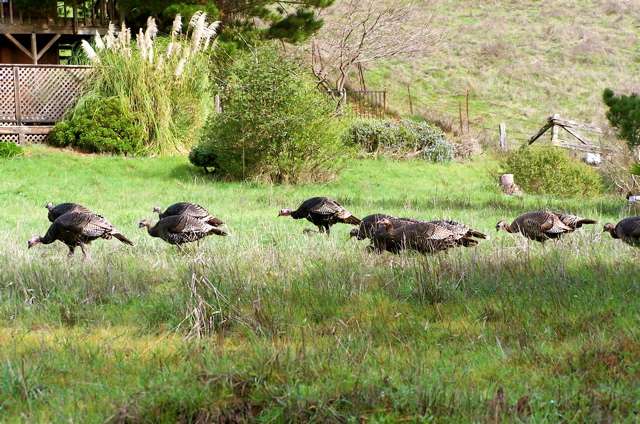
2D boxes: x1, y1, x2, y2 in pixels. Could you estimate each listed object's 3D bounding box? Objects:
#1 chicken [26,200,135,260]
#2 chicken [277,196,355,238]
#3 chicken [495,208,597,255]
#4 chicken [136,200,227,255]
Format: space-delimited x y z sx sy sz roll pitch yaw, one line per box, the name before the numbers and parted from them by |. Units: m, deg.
chicken | -4.419 0.392 15.571 1.802 0.857 1.046 11 15 42
chicken | 0.027 0.099 17.060 1.867 0.853 0.616 0 3 31
chicken | 4.086 0.344 16.056 1.745 0.682 0.501 -5 -4 26
chicken | -2.663 0.259 15.839 1.835 1.088 0.723 -3 -10 8
